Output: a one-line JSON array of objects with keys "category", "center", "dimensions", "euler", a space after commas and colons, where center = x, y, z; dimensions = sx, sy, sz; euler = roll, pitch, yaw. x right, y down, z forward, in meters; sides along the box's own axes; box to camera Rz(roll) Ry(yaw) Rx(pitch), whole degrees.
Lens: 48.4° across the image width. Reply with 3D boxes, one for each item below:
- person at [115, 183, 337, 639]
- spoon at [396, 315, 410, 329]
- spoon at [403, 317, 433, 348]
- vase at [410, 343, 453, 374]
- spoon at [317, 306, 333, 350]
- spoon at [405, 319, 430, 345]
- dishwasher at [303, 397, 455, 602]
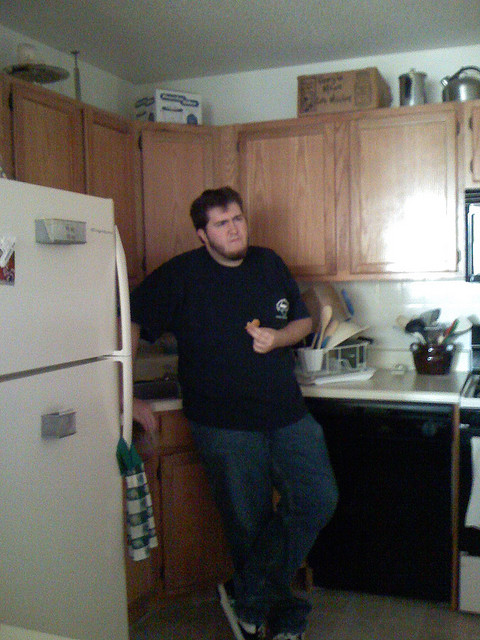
[{"category": "person", "center": [-0.016, 0.328, 1.752], "dimensions": [0.626, 1.517, 0.286], "euler": [-4, 5, -15]}, {"category": "spoon", "center": [0.737, 0.009, 2.414], "dimensions": [0.031, 0.035, 0.059], "euler": [25, -6, 24]}, {"category": "spoon", "center": [0.772, 0.057, 2.317], "dimensions": [0.110, 0.110, 0.109], "euler": [-1, 6, 17]}, {"category": "vase", "center": [0.820, 0.157, 2.272], "dimensions": [0.132, 0.126, 0.120], "euler": [0, 2, 6]}, {"category": "spoon", "center": [0.346, 0.027, 2.190], "dimensions": [0.058, 0.159, 0.169], "euler": [-2, 6, 9]}, {"category": "spoon", "center": [0.777, 0.049, 2.315], "dimensions": [0.065, 0.094, 0.107], "euler": [-8, 8, -44]}, {"category": "dishwasher", "center": [0.620, 0.549, 2.166], "dimensions": [0.538, 0.872, 0.652], "euler": [5, 26, 32]}]
